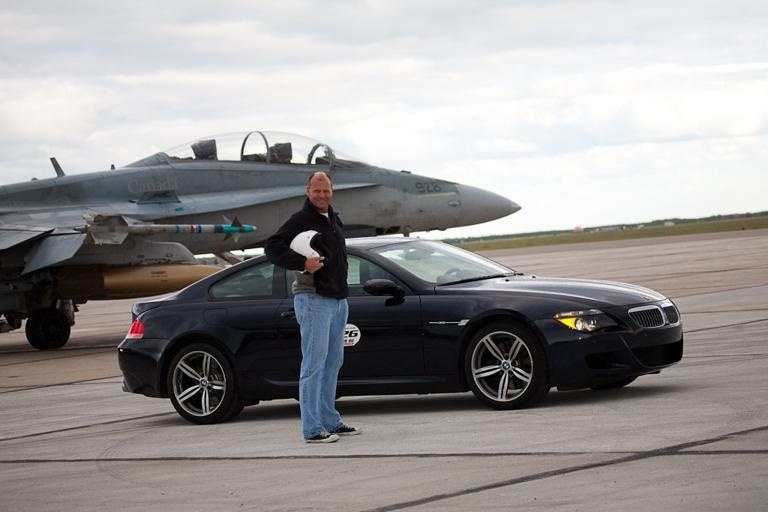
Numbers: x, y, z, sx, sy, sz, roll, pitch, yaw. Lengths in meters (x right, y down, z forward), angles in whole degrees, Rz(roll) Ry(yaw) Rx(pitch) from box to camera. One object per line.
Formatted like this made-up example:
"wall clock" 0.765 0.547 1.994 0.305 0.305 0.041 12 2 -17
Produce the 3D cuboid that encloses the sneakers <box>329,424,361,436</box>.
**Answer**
"sneakers" -0.415 1.790 7.509 0.363 0.080 0.099 -3 1 6

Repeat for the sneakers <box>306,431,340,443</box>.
"sneakers" -0.601 1.802 7.294 0.393 0.087 0.108 -3 3 5
